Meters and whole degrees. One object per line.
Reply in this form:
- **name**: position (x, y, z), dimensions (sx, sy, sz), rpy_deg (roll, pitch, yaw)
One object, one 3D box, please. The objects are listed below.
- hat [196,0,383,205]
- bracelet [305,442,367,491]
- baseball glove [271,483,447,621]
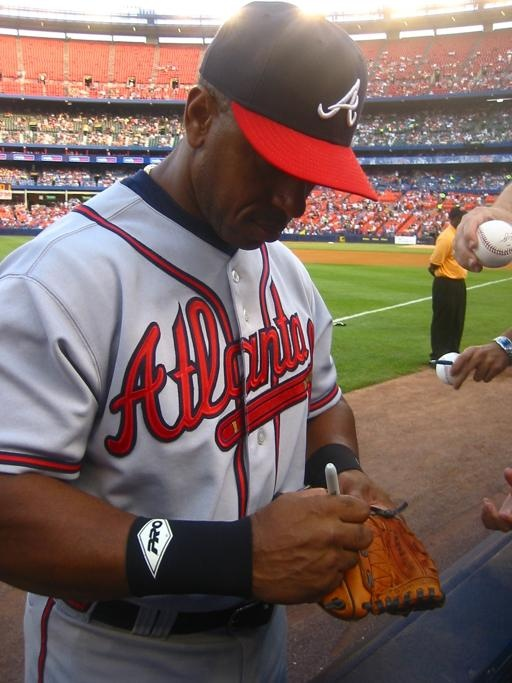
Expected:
- **hat**: position (0.021, -0.478, 1.173), dimensions (0.405, 0.202, 0.289), rpy_deg (42, 29, 23)
- **bracelet**: position (0.190, 0.325, 1.482), dimensions (0.133, 0.099, 0.083), rpy_deg (15, 40, -30)
- **baseball glove**: position (0.243, 0.512, 1.356), dimensions (0.303, 0.119, 0.323), rpy_deg (7, 41, -21)
